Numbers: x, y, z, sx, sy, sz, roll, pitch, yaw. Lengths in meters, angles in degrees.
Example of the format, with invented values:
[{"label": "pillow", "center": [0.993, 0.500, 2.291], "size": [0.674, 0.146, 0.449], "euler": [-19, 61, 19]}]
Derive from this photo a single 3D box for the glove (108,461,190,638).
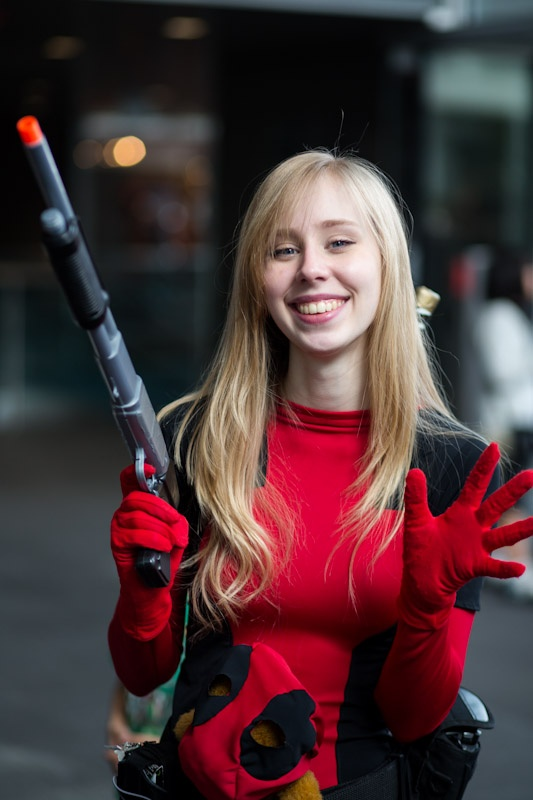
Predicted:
[{"label": "glove", "center": [-0.141, 0.230, 1.241], "size": [0.145, 0.242, 0.067], "euler": [15, 34, 36]}]
